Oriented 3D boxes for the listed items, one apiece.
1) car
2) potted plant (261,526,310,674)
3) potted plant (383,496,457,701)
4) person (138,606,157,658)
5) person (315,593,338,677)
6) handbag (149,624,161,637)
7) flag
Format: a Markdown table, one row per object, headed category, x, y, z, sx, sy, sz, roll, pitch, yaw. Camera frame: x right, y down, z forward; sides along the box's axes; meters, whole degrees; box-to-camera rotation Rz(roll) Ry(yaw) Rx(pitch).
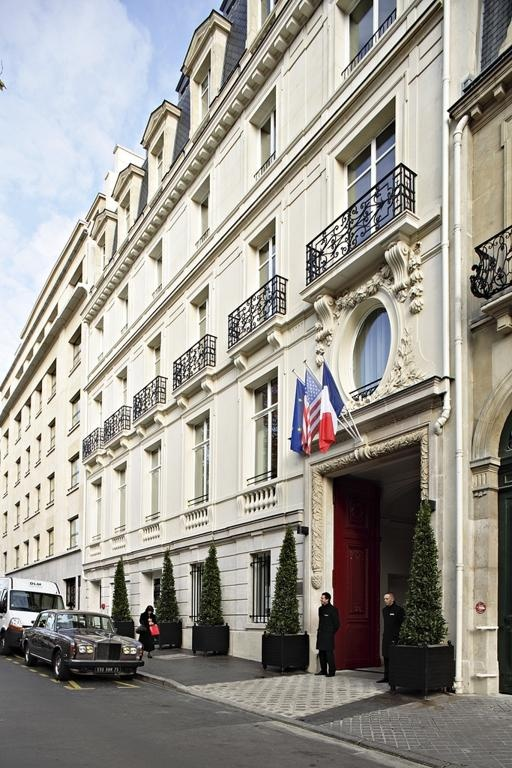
| category | x | y | z | sx | sy | sz | roll | pitch | yaw |
| --- | --- | --- | --- | --- | --- | --- | --- | --- | --- |
| car | -3.340 | 4.782 | 17.957 | 1.044 | 1.010 | 2.782 | 11 | -23 | -22 |
| potted plant | 0.555 | 4.023 | 18.178 | 0.793 | 2.750 | 1.021 | 3 | -15 | -15 |
| potted plant | 2.420 | 3.094 | 14.210 | 0.888 | 2.864 | 0.908 | 10 | -18 | -37 |
| person | -2.511 | 5.789 | 22.431 | 0.330 | 1.266 | 0.376 | 5 | -32 | -9 |
| person | 1.254 | 4.443 | 17.045 | 0.405 | 1.412 | 0.948 | -2 | -15 | 5 |
| handbag | -2.349 | 5.626 | 22.106 | 0.204 | 0.299 | 0.608 | 2 | -18 | -8 |
| flag | 1.210 | 0.514 | 18.492 | 0.163 | 1.540 | 1.224 | 15 | -29 | -23 |
